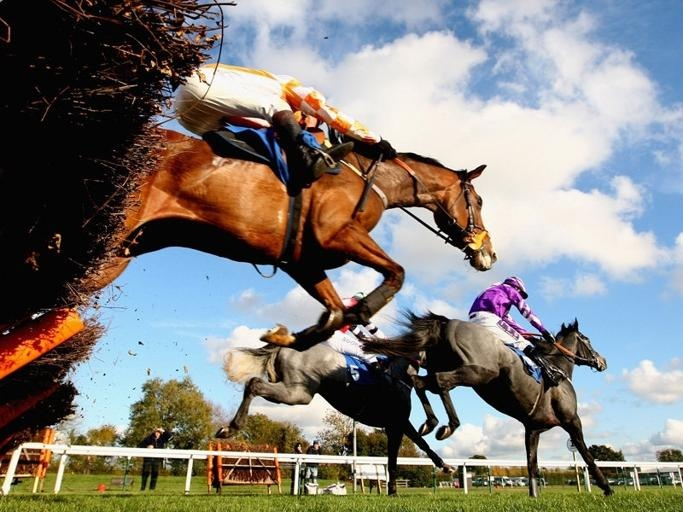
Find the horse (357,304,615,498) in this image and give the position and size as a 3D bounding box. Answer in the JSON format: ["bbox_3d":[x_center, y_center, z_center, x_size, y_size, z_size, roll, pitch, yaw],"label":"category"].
[{"bbox_3d":[2.221,1.749,6.803,4.617,2.610,0.901,24,-33,-21],"label":"horse"}]

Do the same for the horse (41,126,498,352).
[{"bbox_3d":[-0.468,-0.148,3.482,3.503,1.666,0.657,8,-13,-16],"label":"horse"}]

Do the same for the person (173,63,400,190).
[{"bbox_3d":[-0.458,-1.013,3.663,1.395,0.835,0.636,8,-25,-23],"label":"person"}]

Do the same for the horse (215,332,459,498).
[{"bbox_3d":[0.023,1.971,6.636,3.510,2.010,0.671,16,-38,-16],"label":"horse"}]
